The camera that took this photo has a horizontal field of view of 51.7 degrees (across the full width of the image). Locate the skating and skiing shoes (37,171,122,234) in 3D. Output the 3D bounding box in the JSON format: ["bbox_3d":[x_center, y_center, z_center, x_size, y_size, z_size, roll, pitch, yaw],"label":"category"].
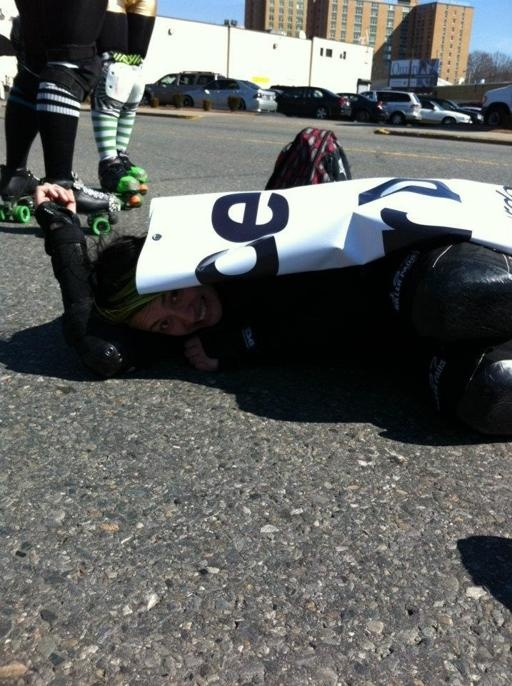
[{"bbox_3d":[-0.973,-0.759,2.911,0.490,0.237,0.247,6,24,1],"label":"skating and skiing shoes"}]
